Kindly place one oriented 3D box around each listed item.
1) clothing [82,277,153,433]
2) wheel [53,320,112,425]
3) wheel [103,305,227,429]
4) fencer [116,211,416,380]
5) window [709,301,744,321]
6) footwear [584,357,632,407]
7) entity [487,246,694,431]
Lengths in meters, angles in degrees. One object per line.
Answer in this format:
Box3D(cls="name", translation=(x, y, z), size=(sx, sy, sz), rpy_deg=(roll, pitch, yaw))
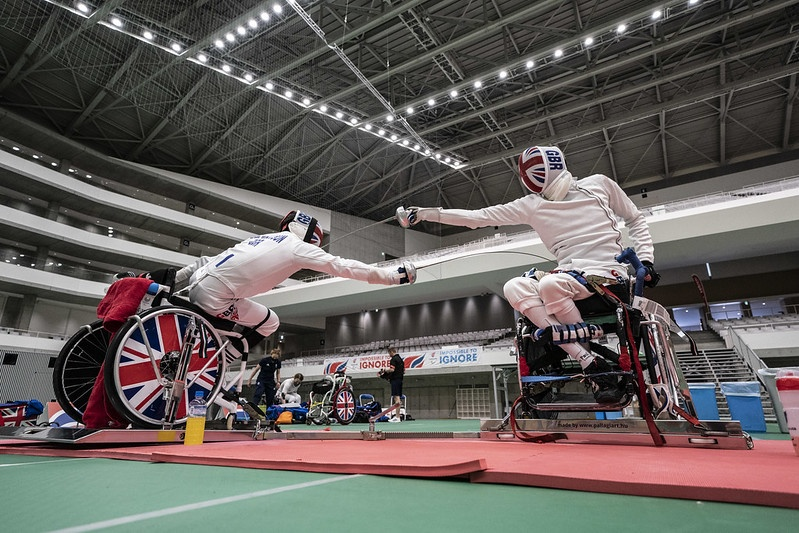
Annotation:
Box3D(cls="clothing", translation=(-2.227, 0.628, 3.523), size=(0.369, 1.207, 0.476), rpy_deg=(11, -24, -27))
Box3D(cls="wheel", translation=(-2.758, 0.895, 3.858), size=(0.266, 0.765, 1.003), rpy_deg=(8, -16, -32))
Box3D(cls="wheel", translation=(-1.899, 0.788, 3.572), size=(0.159, 0.876, 1.009), rpy_deg=(-6, -34, 37))
Box3D(cls="fencer", translation=(-0.797, 0.292, 4.155), size=(2.273, 1.149, 1.833), rpy_deg=(-2, -22, 42))
Box3D(cls="window", translation=(14.704, 1.949, 20.234), size=(1.210, 0.727, 0.658), rpy_deg=(-14, -24, 36))
Box3D(cls="footwear", translation=(1.501, 0.825, 3.246), size=(0.295, 0.351, 0.159), rpy_deg=(-8, -23, 19))
Box3D(cls="entity", translation=(1.555, 0.735, 3.893), size=(1.562, 1.694, 1.541), rpy_deg=(-3, -40, 17))
